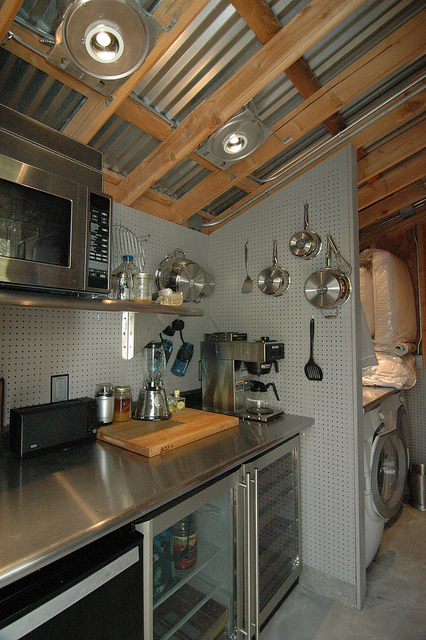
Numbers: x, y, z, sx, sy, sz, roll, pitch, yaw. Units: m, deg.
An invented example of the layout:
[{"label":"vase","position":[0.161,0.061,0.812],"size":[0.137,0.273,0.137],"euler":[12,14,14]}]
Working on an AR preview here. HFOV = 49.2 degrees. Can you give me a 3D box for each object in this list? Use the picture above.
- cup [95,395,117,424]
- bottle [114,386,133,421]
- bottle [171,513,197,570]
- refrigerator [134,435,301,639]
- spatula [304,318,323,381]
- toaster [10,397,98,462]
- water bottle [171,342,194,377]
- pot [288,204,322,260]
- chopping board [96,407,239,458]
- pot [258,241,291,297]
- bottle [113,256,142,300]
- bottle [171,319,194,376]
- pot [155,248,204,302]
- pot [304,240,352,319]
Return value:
[{"label":"cup","position":[-0.453,0.377,1.952],"size":[0.070,0.124,0.045],"euler":[1,4,-22]},{"label":"bottle","position":[-0.387,0.361,2.062],"size":[0.062,0.147,0.138],"euler":[4,5,18]},{"label":"bottle","position":[-0.110,0.830,1.710],"size":[0.053,0.194,0.138],"euler":[5,5,35]},{"label":"refrigerator","position":[0.003,0.795,1.683],"size":[0.310,0.674,0.759],"euler":[-9,-12,39]},{"label":"spatula","position":[0.499,0.151,2.293],"size":[0.029,0.305,0.095],"euler":[0,5,-35]},{"label":"toaster","position":[-0.598,0.363,1.679],"size":[0.216,0.166,0.296],"euler":[12,7,39]},{"label":"water bottle","position":[-0.172,0.222,2.474],"size":[0.107,0.209,0.183],"euler":[1,5,-17]},{"label":"pot","position":[0.452,-0.424,2.339],"size":[0.099,0.277,0.137],"euler":[5,4,-28]},{"label":"chopping board","position":[-0.205,0.450,1.976],"size":[0.394,0.061,0.596],"euler":[6,6,35]},{"label":"pot","position":[0.313,-0.260,2.465],"size":[0.146,0.290,0.058],"euler":[1,-2,39]},{"label":"bottle","position":[-0.358,-0.171,1.940],"size":[0.127,0.188,0.126],"euler":[1,9,0]},{"label":"bottle","position":[-0.167,0.144,2.410],"size":[0.131,0.291,0.074],"euler":[10,6,-21]},{"label":"pot","position":[-0.178,-0.237,2.456],"size":[0.169,0.272,0.247],"euler":[5,5,28]},{"label":"pot","position":[0.555,-0.187,2.253],"size":[0.088,0.365,0.236],"euler":[0,5,-32]}]
